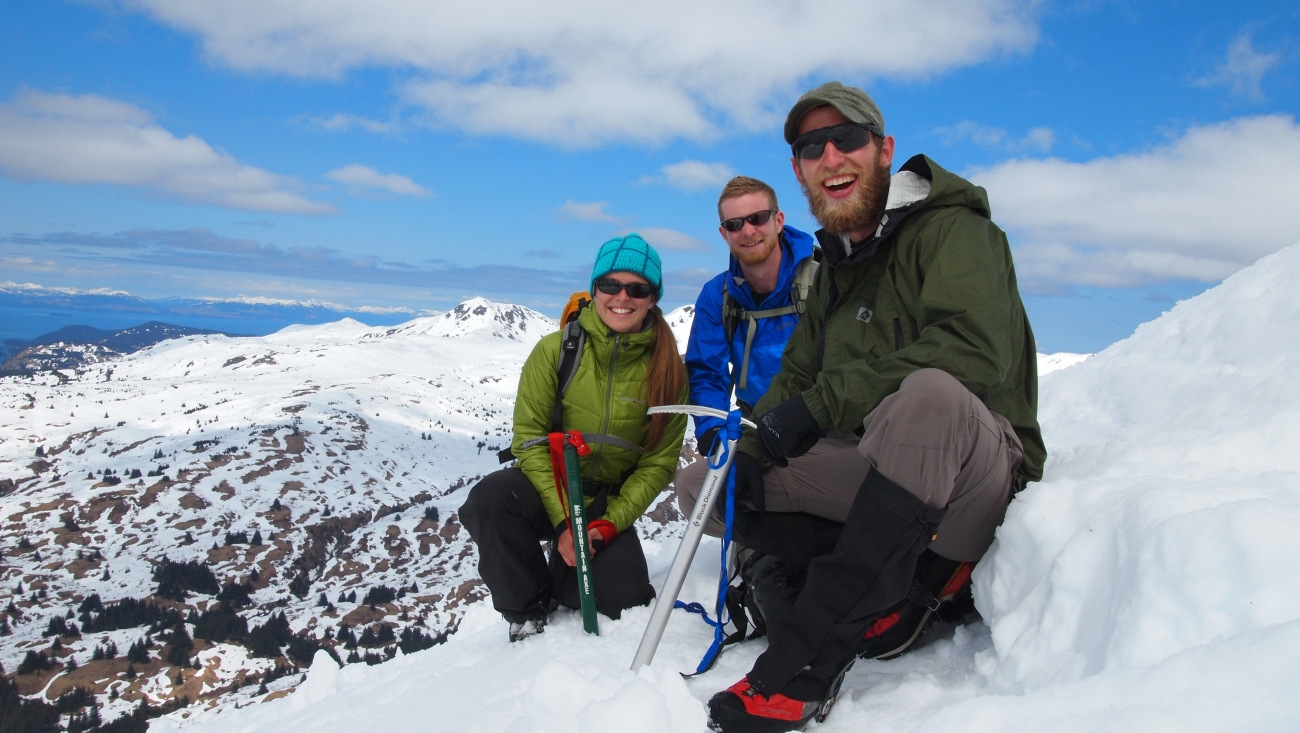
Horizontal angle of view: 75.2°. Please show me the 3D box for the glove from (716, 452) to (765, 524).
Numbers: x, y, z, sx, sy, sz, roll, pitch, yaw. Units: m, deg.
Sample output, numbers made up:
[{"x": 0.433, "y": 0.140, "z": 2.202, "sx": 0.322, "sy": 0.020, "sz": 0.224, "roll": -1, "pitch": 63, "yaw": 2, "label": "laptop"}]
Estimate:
[{"x": 0.966, "y": 1.223, "z": 8.546, "sx": 0.707, "sy": 0.613, "sz": 0.252, "roll": 7, "pitch": 0, "yaw": 5, "label": "glove"}]

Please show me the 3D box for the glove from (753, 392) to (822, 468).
[{"x": 1.353, "y": 0.485, "z": 8.275, "sx": 0.550, "sy": 0.188, "sz": 0.563, "roll": -15, "pitch": 33, "yaw": 26, "label": "glove"}]
